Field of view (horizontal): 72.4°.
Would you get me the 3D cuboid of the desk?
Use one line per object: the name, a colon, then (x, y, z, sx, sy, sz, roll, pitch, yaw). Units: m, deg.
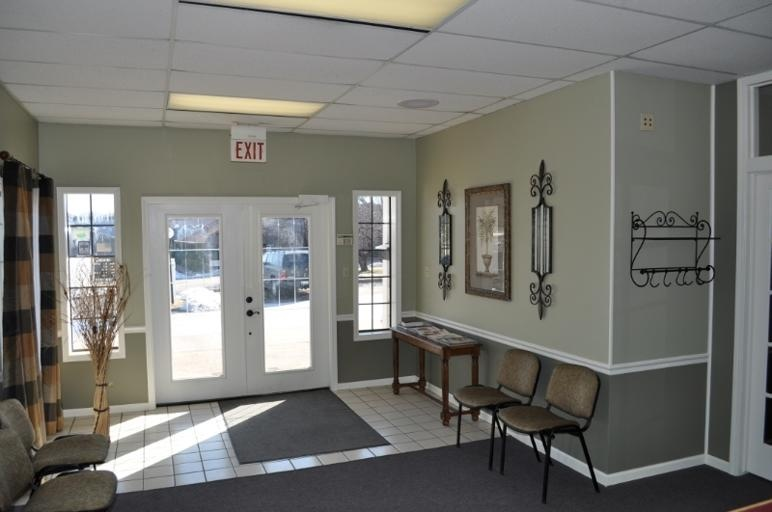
desk: (0.607, 1.508, 6.952, 0.578, 1.018, 1.452, -1, 3, -24)
